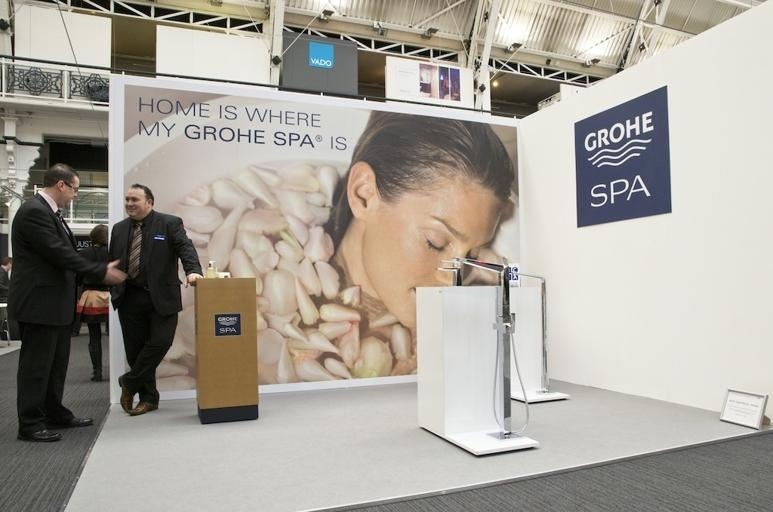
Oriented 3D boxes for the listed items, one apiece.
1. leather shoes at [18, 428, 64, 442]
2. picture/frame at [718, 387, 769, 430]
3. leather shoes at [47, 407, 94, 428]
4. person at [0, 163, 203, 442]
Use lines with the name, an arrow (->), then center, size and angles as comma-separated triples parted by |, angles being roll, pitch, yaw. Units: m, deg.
leather shoes -> -3.098, 1.604, 4.976 | 0.344, 0.108, 0.151 | -1, -6, 9
picture/frame -> 3.437, 1.478, 5.349 | 0.272, 0.418, 0.422 | 16, -12, -34
leather shoes -> -3.040, 1.573, 5.391 | 0.420, 0.194, 0.158 | 1, -4, -12
person -> -3.032, 0.411, 5.074 | 0.718, 2.508, 0.593 | -5, 7, -35
